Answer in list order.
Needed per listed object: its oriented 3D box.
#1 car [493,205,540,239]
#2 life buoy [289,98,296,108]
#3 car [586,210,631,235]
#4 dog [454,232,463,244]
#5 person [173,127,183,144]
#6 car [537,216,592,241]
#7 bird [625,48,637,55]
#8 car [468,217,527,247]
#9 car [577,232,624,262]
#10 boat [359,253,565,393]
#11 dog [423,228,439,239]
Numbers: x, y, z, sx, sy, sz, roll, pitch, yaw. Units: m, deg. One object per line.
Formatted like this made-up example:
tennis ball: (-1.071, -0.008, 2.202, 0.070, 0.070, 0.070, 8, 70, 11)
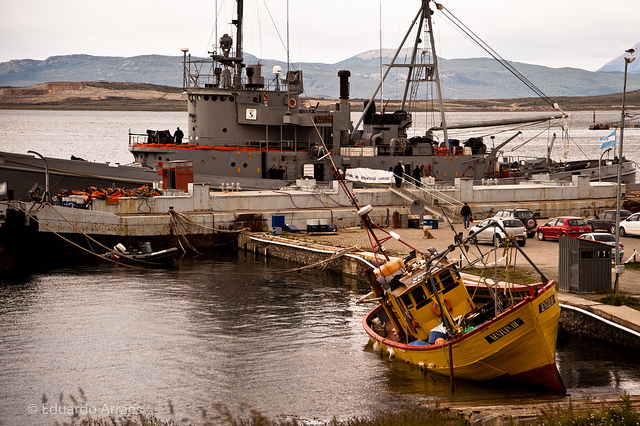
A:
car: (10.291, 0.242, 55.285, 1.503, 1.266, 2.412, -4, 11, -17)
life buoy: (-1.619, -6.342, 60.909, 0.091, 0.445, 0.449, -7, 28, 35)
car: (14.855, 0.636, 54.932, 1.375, 1.000, 2.244, -6, 11, -41)
dog: (5.387, 0.969, 41.193, 0.515, 0.545, 0.257, -7, 0, 8)
person: (-8.127, -4.383, 60.288, 0.543, 0.918, 1.199, -2, 8, -7)
car: (12.332, 0.821, 53.886, 1.593, 1.259, 2.743, -4, 9, -32)
bird: (13.024, -6.768, 44.275, 0.380, 0.226, 1.102, 1, 8, 17)
car: (9.180, 0.908, 51.888, 1.924, 1.507, 3.251, -3, 8, -31)
car: (13.346, 1.749, 49.251, 1.292, 0.868, 2.691, -3, 11, -12)
boat: (5.013, 4.185, 41.284, 4.241, 3.582, 8.058, -16, 14, -38)
dog: (5.669, 1.066, 54.188, 0.791, 0.444, 1.114, 0, 8, 3)
